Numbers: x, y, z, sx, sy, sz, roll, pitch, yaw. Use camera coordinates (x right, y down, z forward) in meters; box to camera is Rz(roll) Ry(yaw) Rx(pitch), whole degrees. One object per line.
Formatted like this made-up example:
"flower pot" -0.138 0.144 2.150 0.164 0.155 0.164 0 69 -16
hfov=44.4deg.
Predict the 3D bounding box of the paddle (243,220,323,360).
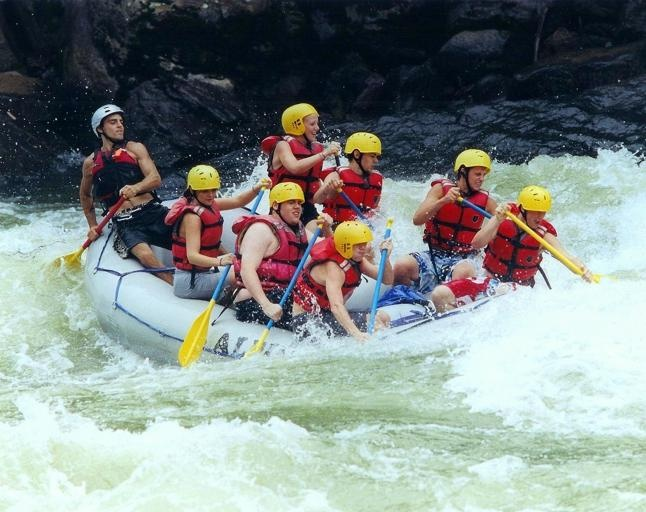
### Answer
"paddle" -0.386 0.355 7.359 1.514 0.181 0.169 -56 21 -17

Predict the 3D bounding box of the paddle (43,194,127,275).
"paddle" -2.770 -0.211 9.454 0.989 0.211 0.985 -53 10 -21

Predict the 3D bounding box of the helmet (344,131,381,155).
"helmet" 0.424 -1.201 8.391 0.336 0.165 0.237 2 15 14

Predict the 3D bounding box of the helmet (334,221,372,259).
"helmet" 0.269 -0.150 7.105 0.393 0.286 0.280 -2 8 12

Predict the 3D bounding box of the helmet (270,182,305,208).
"helmet" -0.328 -0.577 7.508 0.290 0.159 0.228 13 13 40

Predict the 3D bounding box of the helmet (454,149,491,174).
"helmet" 1.526 -0.972 8.143 0.241 0.171 0.302 -4 20 -40

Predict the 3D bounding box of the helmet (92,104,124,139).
"helmet" -2.456 -1.563 9.027 0.333 0.380 0.591 -7 24 -13

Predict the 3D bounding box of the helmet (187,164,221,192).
"helmet" -1.210 -0.788 7.912 0.248 0.171 0.294 -4 26 -18

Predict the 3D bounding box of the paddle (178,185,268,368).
"paddle" -0.961 0.277 7.754 0.214 0.084 1.834 27 59 -3

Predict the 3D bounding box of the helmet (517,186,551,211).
"helmet" 2.070 -0.541 7.801 0.247 0.186 0.298 -11 29 -24

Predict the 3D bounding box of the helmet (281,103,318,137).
"helmet" -0.275 -1.460 8.493 0.407 0.292 0.289 -9 13 15
